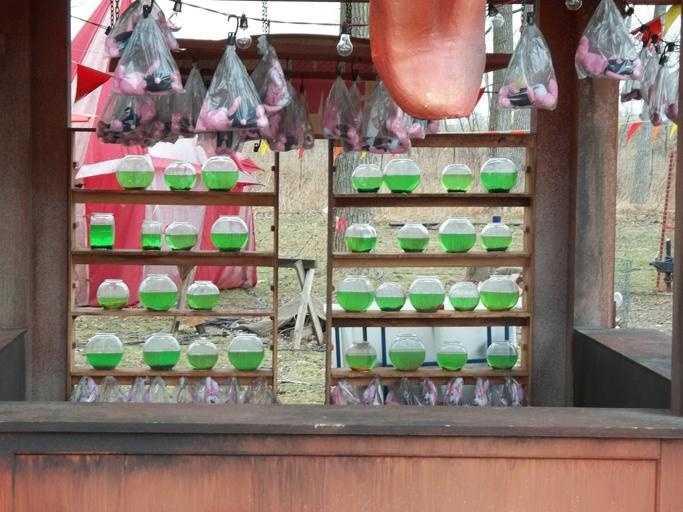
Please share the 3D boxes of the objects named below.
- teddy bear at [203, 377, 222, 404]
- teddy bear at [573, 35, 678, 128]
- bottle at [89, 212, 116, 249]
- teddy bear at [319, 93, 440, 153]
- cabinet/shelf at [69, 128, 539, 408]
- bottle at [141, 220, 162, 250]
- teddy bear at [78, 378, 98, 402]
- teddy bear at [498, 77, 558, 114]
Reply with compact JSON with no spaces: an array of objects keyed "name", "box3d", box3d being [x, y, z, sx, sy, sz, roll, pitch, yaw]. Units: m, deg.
[{"name":"teddy bear","box3d":[-0.781,0.820,8.251,0.103,0.135,0.287,1,9,-6]},{"name":"teddy bear","box3d":[1.694,-0.960,7.440,0.306,0.462,0.666,4,9,11]},{"name":"bottle","box3d":[-1.519,-0.175,8.598,0.159,0.244,0.148,3,11,-1]},{"name":"teddy bear","box3d":[0.186,-0.781,7.634,0.378,0.396,0.857,-3,10,-28]},{"name":"cabinet/shelf","box3d":[-0.137,0.116,8.604,2.715,1.899,2.487,3,9,8]},{"name":"bottle","box3d":[-1.190,-0.140,8.545,0.170,0.238,0.158,2,5,0]},{"name":"teddy bear","box3d":[-1.528,0.812,8.206,0.135,0.176,0.082,-4,-38,-13]},{"name":"teddy bear","box3d":[0.993,-0.865,7.146,0.410,0.173,0.410,2,11,11]}]
